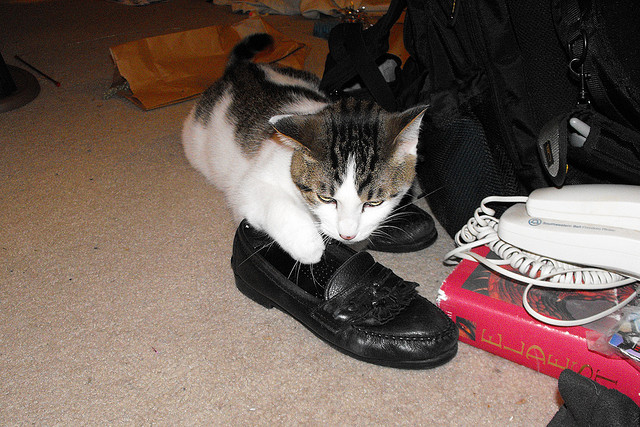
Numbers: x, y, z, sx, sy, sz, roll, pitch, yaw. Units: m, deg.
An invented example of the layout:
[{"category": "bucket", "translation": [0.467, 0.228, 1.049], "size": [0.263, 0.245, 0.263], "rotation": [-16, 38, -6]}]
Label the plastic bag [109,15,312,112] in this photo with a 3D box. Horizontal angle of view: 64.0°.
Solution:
[{"category": "plastic bag", "translation": [-0.510, -0.704, 2.367], "size": [0.796, 0.207, 0.493], "rotation": [-17, 46, -28]}]

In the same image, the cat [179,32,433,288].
[{"category": "cat", "translation": [-0.039, -0.251, 1.814], "size": [0.494, 0.569, 1.142], "rotation": [-6, 40, -10]}]
